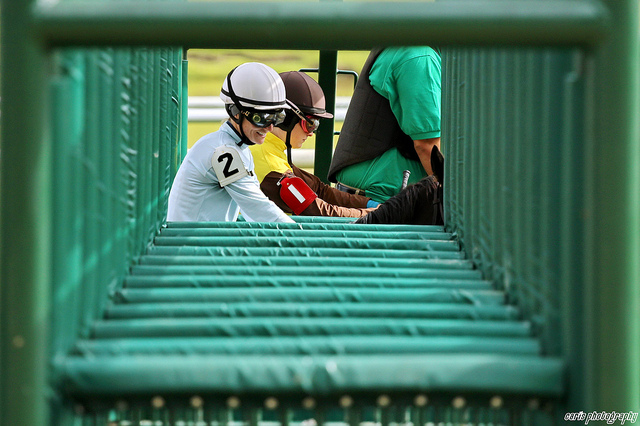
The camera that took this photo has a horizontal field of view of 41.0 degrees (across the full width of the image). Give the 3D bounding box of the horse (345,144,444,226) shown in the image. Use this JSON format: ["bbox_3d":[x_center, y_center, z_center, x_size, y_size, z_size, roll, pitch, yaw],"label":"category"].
[{"bbox_3d":[0.307,-0.043,3.211,0.371,0.227,0.103,-10,10,38],"label":"horse"}]

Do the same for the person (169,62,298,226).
[{"bbox_3d":[-0.387,-0.291,3.879,0.402,0.843,0.620,12,-23,-33],"label":"person"}]

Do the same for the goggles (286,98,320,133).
[{"bbox_3d":[-0.093,-0.551,4.959,0.190,0.072,0.144,30,-13,-16],"label":"goggles"}]
